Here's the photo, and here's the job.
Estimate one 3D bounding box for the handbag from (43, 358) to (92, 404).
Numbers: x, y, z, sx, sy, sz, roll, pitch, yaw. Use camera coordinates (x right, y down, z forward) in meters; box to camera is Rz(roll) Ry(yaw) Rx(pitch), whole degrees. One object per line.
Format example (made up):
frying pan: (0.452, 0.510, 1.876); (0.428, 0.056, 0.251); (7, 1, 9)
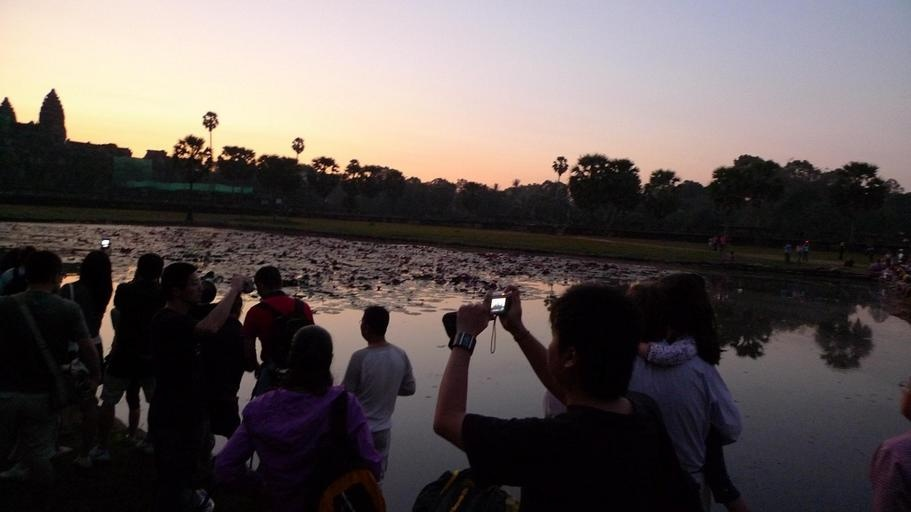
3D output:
handbag: (-4.524, 1.423, 6.258); (0.409, 0.519, 0.307); (17, 26, 20)
